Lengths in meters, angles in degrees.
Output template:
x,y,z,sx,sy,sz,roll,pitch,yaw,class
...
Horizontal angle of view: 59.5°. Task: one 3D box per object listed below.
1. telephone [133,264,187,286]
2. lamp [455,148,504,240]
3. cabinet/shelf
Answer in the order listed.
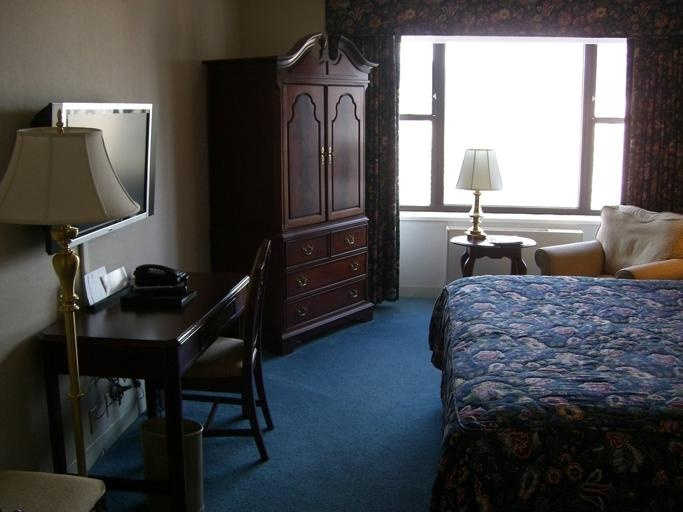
x,y,z,sx,sy,sz,roll,pitch,yaw,class
-1.089,0.104,3.555,0.262,0.108,0.148,2,6,0,telephone
1.349,-0.641,5.946,0.429,0.885,0.661,3,15,10,lamp
-0.416,-0.533,5.198,1.477,2.667,0.844,-3,15,-14,cabinet/shelf
